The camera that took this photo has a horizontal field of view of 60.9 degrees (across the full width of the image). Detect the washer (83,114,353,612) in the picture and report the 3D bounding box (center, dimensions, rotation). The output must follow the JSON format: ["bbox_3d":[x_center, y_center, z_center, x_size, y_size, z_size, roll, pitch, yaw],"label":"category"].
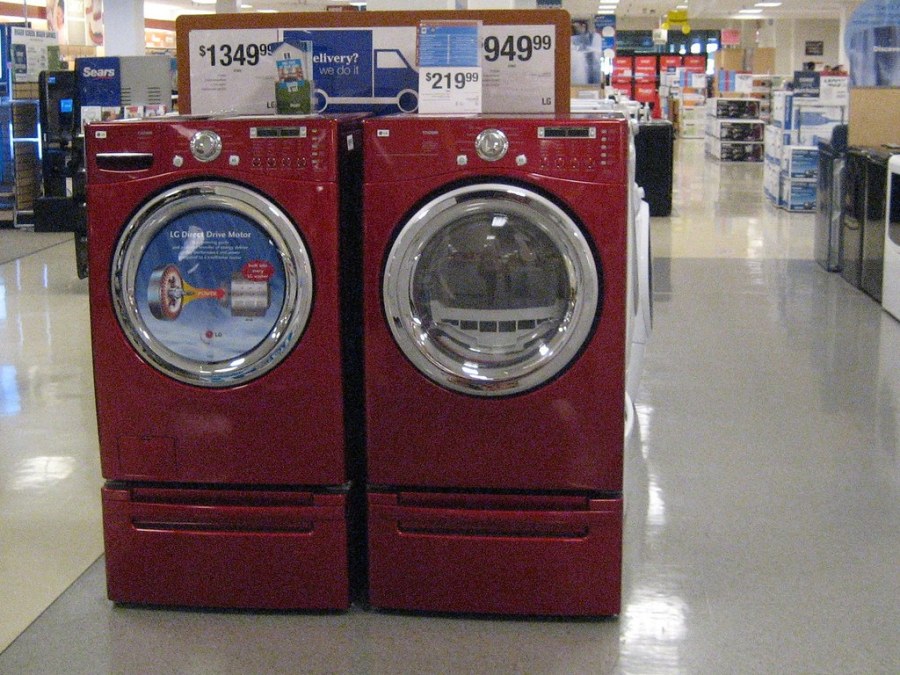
[{"bbox_3d":[-0.762,0.118,2.606,0.893,1.653,0.364,-1,15,5],"label":"washer"}]

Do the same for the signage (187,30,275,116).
[{"bbox_3d":[-0.888,-1.090,3.191,0.417,0.392,0.139,-7,7,-21],"label":"signage"}]

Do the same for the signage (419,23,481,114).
[{"bbox_3d":[0.000,-0.919,2.715,0.225,0.356,0.179,-1,-11,0],"label":"signage"}]

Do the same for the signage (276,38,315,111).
[{"bbox_3d":[-0.577,-0.948,2.815,0.151,0.259,0.155,-9,12,-19],"label":"signage"}]
